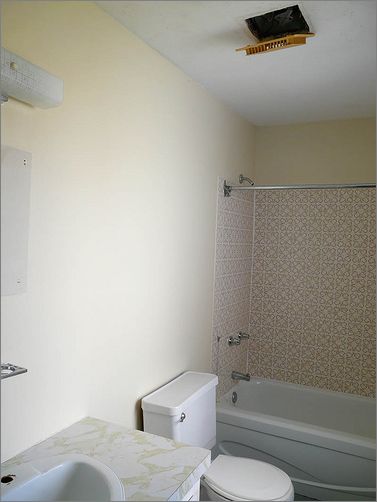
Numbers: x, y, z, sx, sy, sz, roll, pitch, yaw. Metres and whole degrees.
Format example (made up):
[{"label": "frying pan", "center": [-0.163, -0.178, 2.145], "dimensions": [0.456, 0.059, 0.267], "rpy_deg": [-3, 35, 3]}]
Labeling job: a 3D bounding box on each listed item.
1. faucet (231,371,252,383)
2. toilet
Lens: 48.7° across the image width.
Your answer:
[{"label": "faucet", "center": [0.370, 0.924, 2.991], "dimensions": [0.153, 0.069, 0.088], "rpy_deg": [7, 3, 13]}, {"label": "toilet", "center": [0.101, 0.879, 2.123], "dimensions": [0.765, 0.675, 0.564], "rpy_deg": [0, 1, 24]}]
